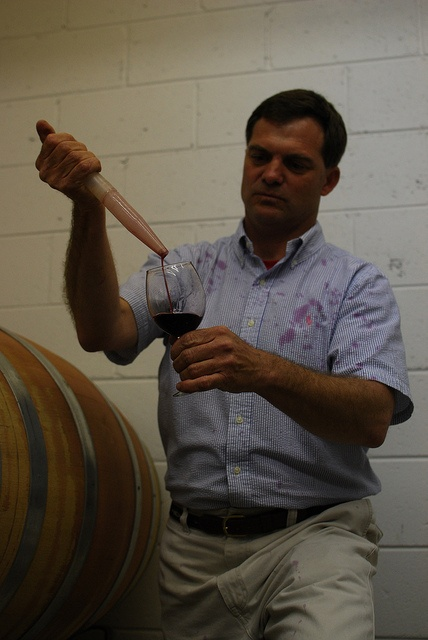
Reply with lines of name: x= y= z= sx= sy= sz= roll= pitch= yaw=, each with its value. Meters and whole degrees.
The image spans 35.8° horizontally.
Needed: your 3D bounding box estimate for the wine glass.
wine glass: x=-0.050 y=0.011 z=1.052 sx=0.099 sy=0.085 sz=0.179 roll=-7 pitch=88 yaw=35
